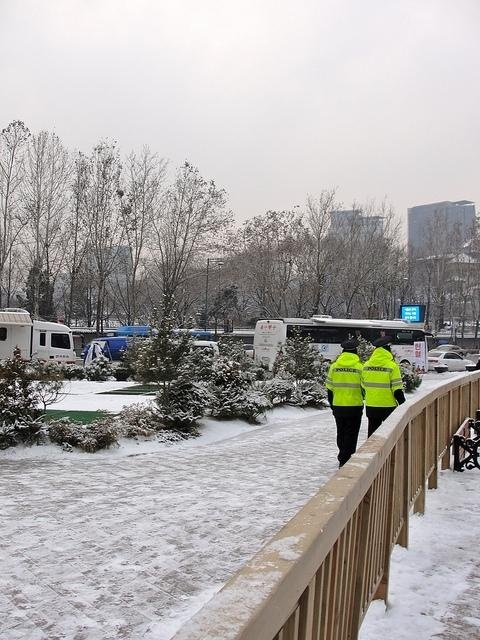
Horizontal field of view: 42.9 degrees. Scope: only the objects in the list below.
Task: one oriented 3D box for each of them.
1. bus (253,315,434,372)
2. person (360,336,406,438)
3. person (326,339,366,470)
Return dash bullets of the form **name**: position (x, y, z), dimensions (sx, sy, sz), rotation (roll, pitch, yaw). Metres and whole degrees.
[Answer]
- **bus**: position (6.218, 1.486, 34.341), dimensions (10.119, 3.167, 3.114), rotation (1, 0, -26)
- **person**: position (2.007, 0.931, 8.473), dimensions (0.418, 1.363, 0.847), rotation (1, -3, -33)
- **person**: position (1.511, 1.215, 8.764), dimensions (0.537, 1.850, 0.855), rotation (-1, -2, 10)
